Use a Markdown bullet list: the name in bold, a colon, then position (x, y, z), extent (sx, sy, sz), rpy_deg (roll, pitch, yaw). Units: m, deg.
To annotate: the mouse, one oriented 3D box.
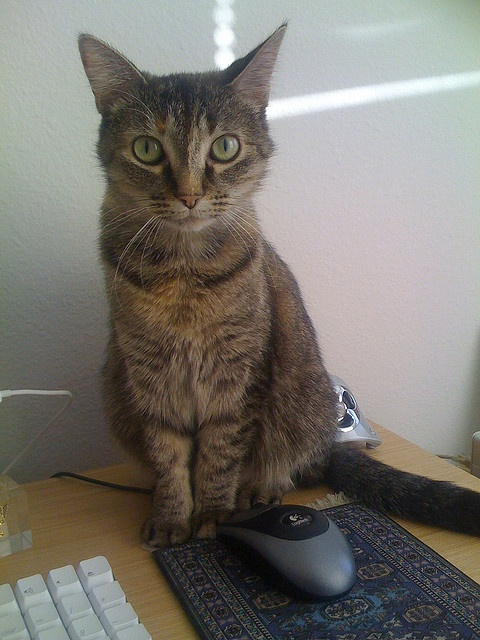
- **mouse**: position (0.057, 0.254, 0.712), extent (0.116, 0.054, 0.186), rpy_deg (-10, 19, -35)
